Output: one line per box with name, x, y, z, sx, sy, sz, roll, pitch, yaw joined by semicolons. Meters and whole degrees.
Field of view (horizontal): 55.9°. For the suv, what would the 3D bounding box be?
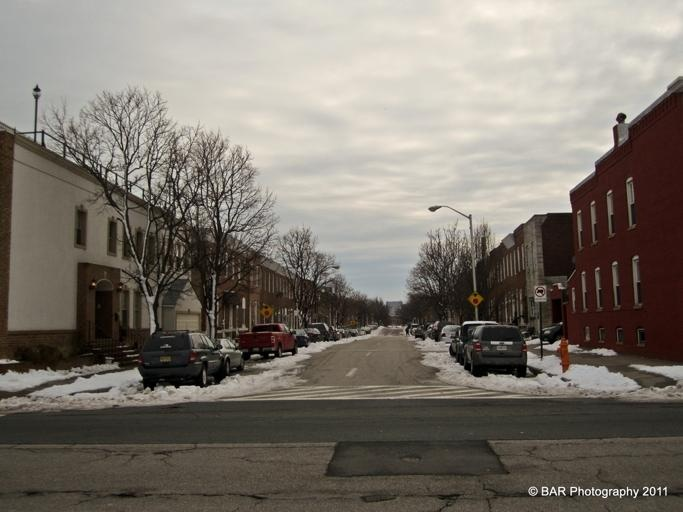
suv;-5.506;3.659;22.890;1.973;2.024;4.458;-2;-6;5
